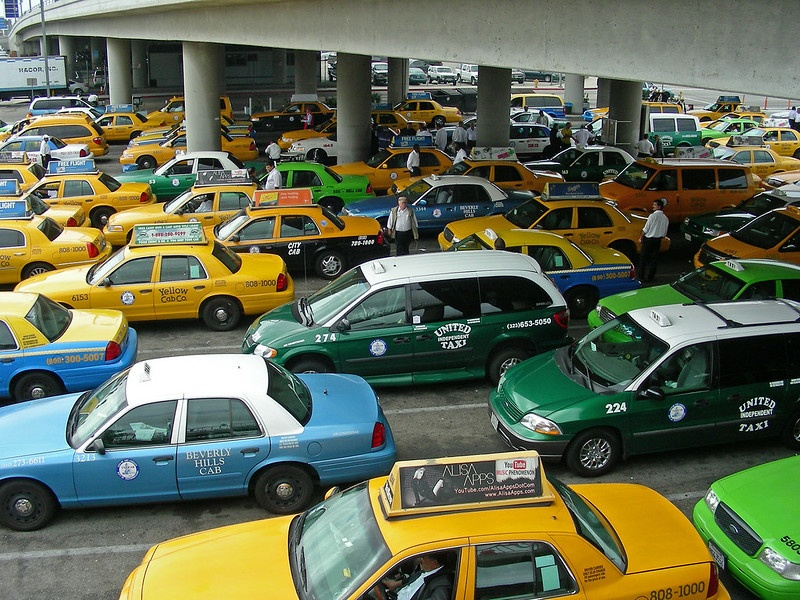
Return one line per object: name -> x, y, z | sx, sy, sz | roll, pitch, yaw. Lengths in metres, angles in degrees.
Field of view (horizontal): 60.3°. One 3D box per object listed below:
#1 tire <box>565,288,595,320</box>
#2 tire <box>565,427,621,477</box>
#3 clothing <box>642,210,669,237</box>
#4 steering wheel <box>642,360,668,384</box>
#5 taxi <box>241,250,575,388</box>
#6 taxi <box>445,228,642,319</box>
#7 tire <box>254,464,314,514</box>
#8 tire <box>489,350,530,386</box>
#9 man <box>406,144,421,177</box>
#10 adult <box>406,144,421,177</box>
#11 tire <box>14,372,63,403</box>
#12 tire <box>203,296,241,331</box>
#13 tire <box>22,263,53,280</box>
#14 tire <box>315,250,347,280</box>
tire -> 3.557, 0.043, 13.578 | 0.531, 0.487, 0.179 | -21, 24, -18
tire -> 2.514, 1.971, 9.030 | 0.710, 0.635, 0.214 | -4, 10, -13
clothing -> 5.951, -1.747, 16.010 | 0.532, 0.686, 0.290 | 1, 18, 2
steering wheel -> 3.356, 0.986, 9.023 | 0.323, 0.258, 0.077 | -7, 19, -22
taxi -> 0.265, 0.322, 11.663 | 5.296, 1.698, 2.097 | -5, 16, 4
taxi -> 2.813, -0.558, 14.118 | 3.844, 1.142, 1.653 | 3, 20, -4
tire -> -1.404, 2.273, 8.374 | 0.700, 0.627, 0.236 | 2, 9, -3
tire -> 1.691, 1.020, 10.560 | 0.613, 0.547, 0.201 | -1, 10, -11
man -> 0.481, -4.719, 23.481 | 0.457, 1.049, 0.711 | 0, 18, 0
adult -> 0.481, -4.718, 23.478 | 0.457, 1.049, 0.703 | 0, 18, 0
tire -> -5.447, 1.305, 10.363 | 0.512, 0.458, 0.165 | 1, 7, -2
tire -> -3.507, 0.249, 13.577 | 0.687, 0.617, 0.226 | 4, 19, -11
tire -> -7.861, -0.609, 14.933 | 0.485, 0.435, 0.162 | -1, 7, -3
tire -> -1.596, -0.841, 16.043 | 0.831, 0.749, 0.280 | 4, 25, -18
